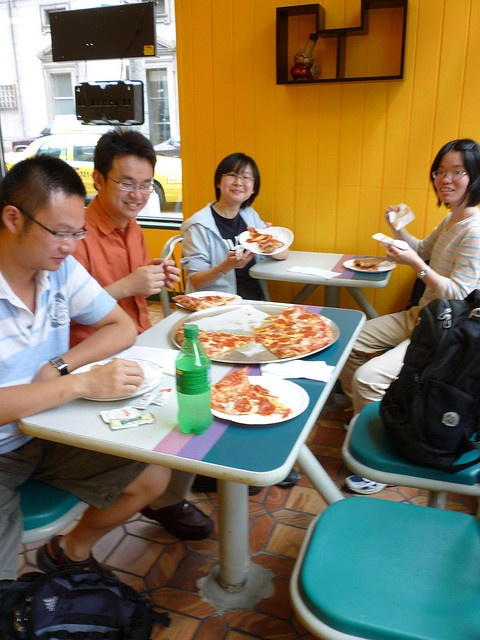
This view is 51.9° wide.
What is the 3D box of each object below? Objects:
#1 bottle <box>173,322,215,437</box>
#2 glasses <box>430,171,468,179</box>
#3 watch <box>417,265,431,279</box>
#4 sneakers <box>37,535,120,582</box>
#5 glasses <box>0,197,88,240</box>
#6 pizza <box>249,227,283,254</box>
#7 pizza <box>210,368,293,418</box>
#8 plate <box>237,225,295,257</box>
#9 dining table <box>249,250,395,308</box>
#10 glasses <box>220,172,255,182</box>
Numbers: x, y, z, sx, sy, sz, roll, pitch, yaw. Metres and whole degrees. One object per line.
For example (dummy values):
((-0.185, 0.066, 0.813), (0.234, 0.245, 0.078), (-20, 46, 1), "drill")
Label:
((-0.091, 0.107, 0.941), (0.070, 0.199, 0.124), (-4, 15, -5), "bottle")
((0.925, -0.651, 2.204), (0.058, 0.045, 0.169), (-8, 15, -22), "glasses")
((0.787, -0.202, 2.110), (0.040, 0.063, 0.063), (38, 16, 25), "watch")
((-0.467, 0.643, 1.357), (0.272, 0.096, 0.086), (7, 6, 2), "sneakers")
((-0.439, -0.216, 1.123), (0.099, 0.025, 0.092), (35, 6, -2), "glasses")
((0.133, -0.422, 2.651), (0.178, 0.048, 0.159), (22, 36, 25), "pizza")
((0.025, 0.162, 1.072), (0.120, 0.016, 0.113), (3, 26, 5), "pizza")
((0.151, -0.431, 2.670), (0.264, 0.041, 0.223), (17, 40, 22), "plate")
((0.446, -0.248, 2.611), (0.609, 0.359, 0.376), (11, 39, 17), "dining table")
((0.007, -0.741, 2.554), (0.187, 0.054, 0.081), (-12, 18, -35), "glasses")
